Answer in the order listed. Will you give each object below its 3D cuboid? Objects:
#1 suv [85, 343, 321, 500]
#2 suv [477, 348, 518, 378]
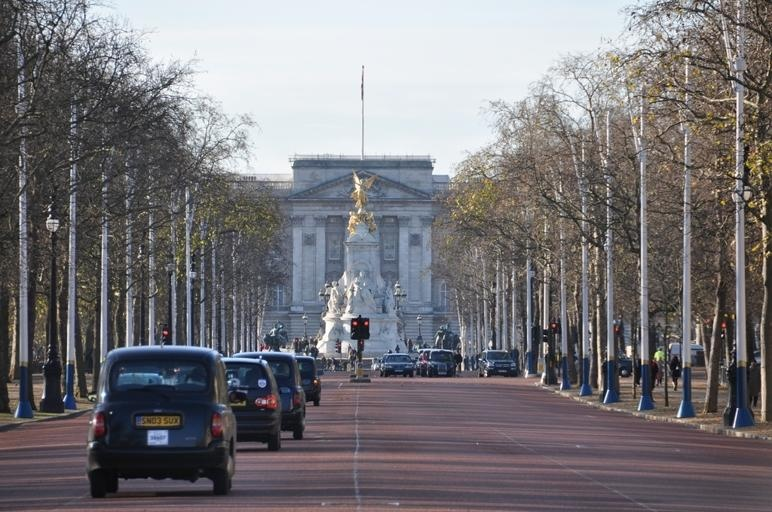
[{"bbox_3d":[-5.042,3.669,40.610,2.806,2.827,6.576,0,-3,-14],"label":"suv"},{"bbox_3d":[6.671,6.310,101.350,1.763,1.772,3.242,1,-8,-11],"label":"suv"}]
